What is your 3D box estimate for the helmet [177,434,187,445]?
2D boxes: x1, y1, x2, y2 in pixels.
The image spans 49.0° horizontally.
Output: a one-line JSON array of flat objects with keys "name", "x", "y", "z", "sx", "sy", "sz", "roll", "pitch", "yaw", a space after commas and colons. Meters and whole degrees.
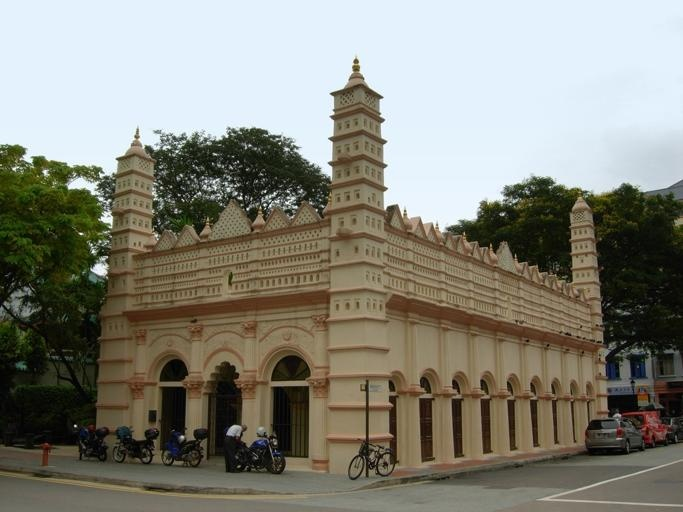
[{"name": "helmet", "x": -5.788, "y": 6.652, "z": 27.154, "sx": 0.252, "sy": 0.226, "sz": 0.252, "roll": -6, "pitch": -7, "yaw": 34}]

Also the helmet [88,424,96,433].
[{"name": "helmet", "x": -9.754, "y": 6.774, "z": 29.426, "sx": 0.393, "sy": 0.301, "sz": 0.286, "roll": 18, "pitch": -23, "yaw": -37}]

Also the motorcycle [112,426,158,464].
[{"name": "motorcycle", "x": -7.879, "y": 7.180, "z": 28.506, "sx": 1.770, "sy": 1.281, "sz": 0.741, "roll": -4, "pitch": -9, "yaw": 38}]

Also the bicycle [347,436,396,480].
[{"name": "bicycle", "x": 1.046, "y": 6.640, "z": 24.143, "sx": 1.660, "sy": 0.939, "sz": 0.931, "roll": 15, "pitch": -30, "yaw": -32}]

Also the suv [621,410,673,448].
[{"name": "suv", "x": 15.677, "y": 9.105, "z": 39.147, "sx": 2.286, "sy": 1.727, "sz": 3.746, "roll": -8, "pitch": -8, "yaw": 40}]

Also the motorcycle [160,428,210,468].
[{"name": "motorcycle", "x": -5.798, "y": 6.952, "z": 27.355, "sx": 2.046, "sy": 1.379, "sz": 0.948, "roll": -2, "pitch": -8, "yaw": 28}]

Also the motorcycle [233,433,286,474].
[{"name": "motorcycle", "x": -2.498, "y": 6.618, "z": 24.978, "sx": 2.000, "sy": 1.090, "sz": 0.896, "roll": -23, "pitch": -36, "yaw": 32}]

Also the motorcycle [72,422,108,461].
[{"name": "motorcycle", "x": -9.670, "y": 7.357, "z": 29.425, "sx": 1.951, "sy": 1.153, "sz": 0.966, "roll": -12, "pitch": -26, "yaw": 43}]
